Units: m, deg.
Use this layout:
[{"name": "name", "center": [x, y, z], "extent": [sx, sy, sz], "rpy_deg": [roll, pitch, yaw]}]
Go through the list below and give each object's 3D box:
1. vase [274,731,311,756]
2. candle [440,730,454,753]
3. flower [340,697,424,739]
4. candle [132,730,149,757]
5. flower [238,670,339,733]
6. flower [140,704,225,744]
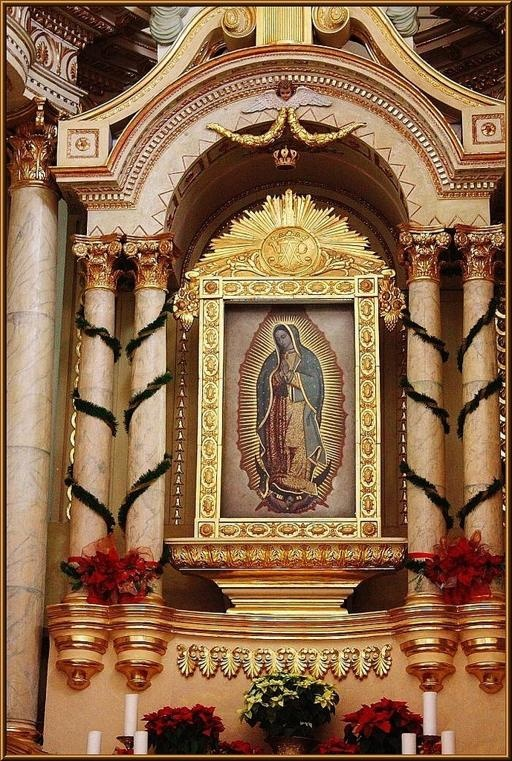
[{"name": "vase", "center": [0.178, 1.690, 5.942], "extent": [0.177, 0.098, 0.193], "rpy_deg": [1, -24, 0]}, {"name": "candle", "center": [0.796, 1.515, 5.355], "extent": [0.051, 0.099, 0.089], "rpy_deg": [-1, -25, 5]}, {"name": "flower", "center": [0.584, 1.533, 5.807], "extent": [0.248, 0.101, 0.235], "rpy_deg": [-1, -10, -10]}, {"name": "candle", "center": [-0.487, 1.557, 5.497], "extent": [0.052, 0.108, 0.169], "rpy_deg": [5, -24, -7]}, {"name": "flower", "center": [0.175, 1.503, 6.003], "extent": [0.351, 0.213, 0.328], "rpy_deg": [4, -9, -12]}, {"name": "flower", "center": [-0.343, 1.584, 5.970], "extent": [0.235, 0.117, 0.224], "rpy_deg": [8, -12, -36]}]
